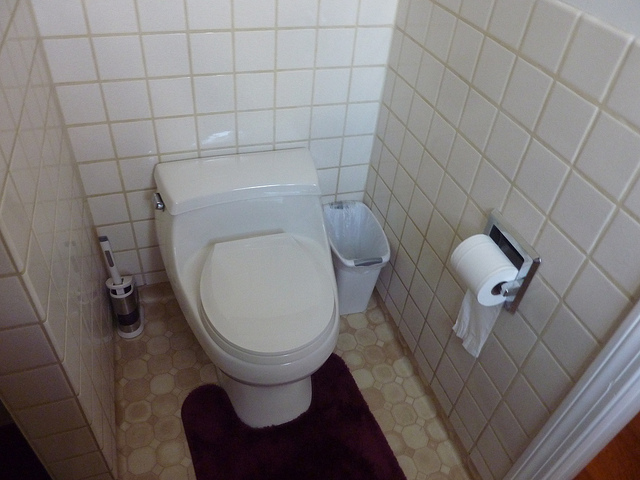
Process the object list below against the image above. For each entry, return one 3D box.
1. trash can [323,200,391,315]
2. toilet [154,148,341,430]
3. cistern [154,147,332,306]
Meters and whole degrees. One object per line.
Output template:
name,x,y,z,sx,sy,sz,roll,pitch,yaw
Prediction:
trash can,0.154,0.065,1.903,0.202,0.348,0.335,-5,46,-8
toilet,-0.215,0.144,1.726,0.638,0.601,0.887,-14,48,-25
cistern,-0.328,-0.152,1.829,0.633,0.544,0.618,-6,40,-15
